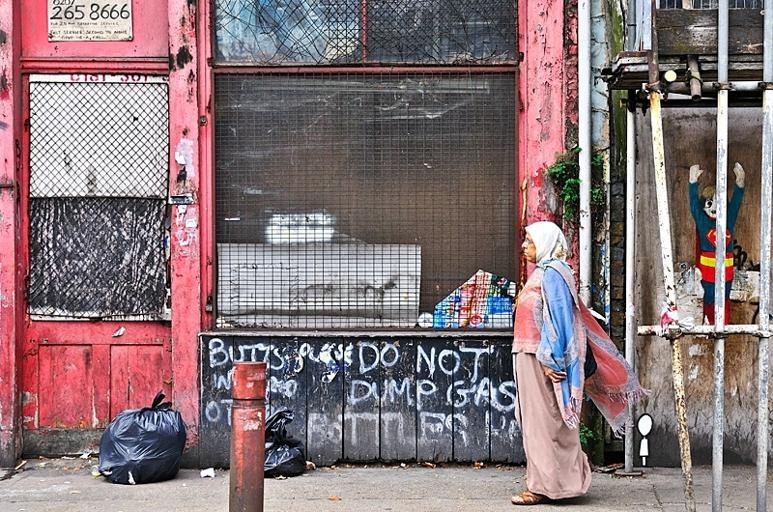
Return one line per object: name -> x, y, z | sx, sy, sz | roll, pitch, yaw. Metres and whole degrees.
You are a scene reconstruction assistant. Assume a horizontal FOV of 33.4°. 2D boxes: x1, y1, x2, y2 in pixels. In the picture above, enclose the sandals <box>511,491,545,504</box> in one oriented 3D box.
sandals -> 1.447, 2.488, 13.165 | 0.320, 0.082, 0.136 | 2, -2, -7
